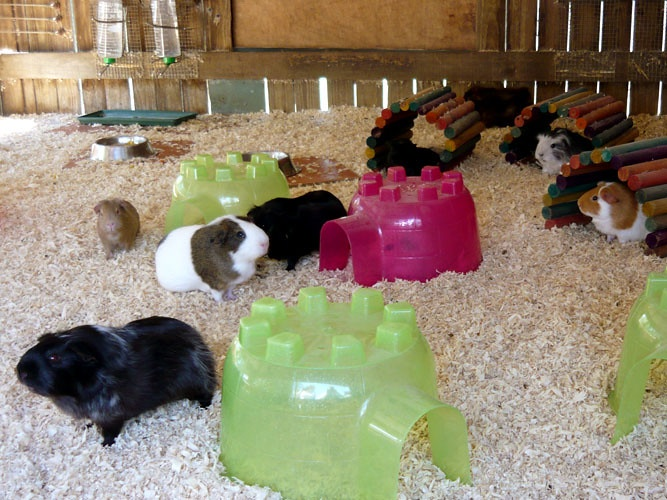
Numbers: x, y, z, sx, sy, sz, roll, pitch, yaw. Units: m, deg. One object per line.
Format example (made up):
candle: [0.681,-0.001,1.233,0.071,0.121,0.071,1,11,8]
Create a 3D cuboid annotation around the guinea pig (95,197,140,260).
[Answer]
guinea pig: [-1.269,-0.139,3.465,0.201,0.295,0.403,-2,34,-2]
